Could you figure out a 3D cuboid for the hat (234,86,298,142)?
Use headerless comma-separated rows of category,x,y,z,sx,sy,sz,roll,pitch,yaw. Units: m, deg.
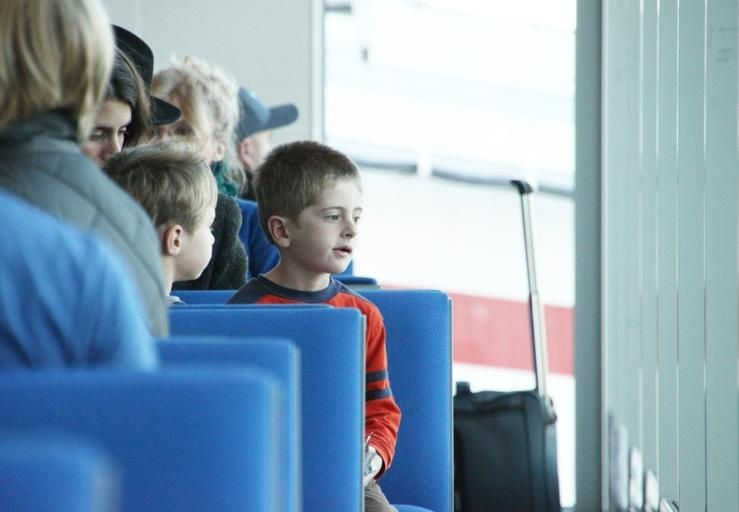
hat,-0.426,-0.551,6.219,0.270,0.166,0.147,-7,-36,-2

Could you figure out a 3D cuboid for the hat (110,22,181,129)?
hat,-0.713,-0.579,5.070,0.319,0.156,0.203,27,1,-20
